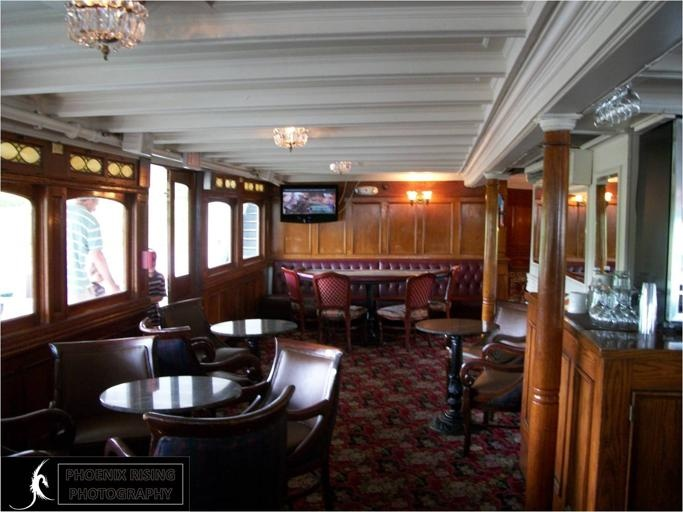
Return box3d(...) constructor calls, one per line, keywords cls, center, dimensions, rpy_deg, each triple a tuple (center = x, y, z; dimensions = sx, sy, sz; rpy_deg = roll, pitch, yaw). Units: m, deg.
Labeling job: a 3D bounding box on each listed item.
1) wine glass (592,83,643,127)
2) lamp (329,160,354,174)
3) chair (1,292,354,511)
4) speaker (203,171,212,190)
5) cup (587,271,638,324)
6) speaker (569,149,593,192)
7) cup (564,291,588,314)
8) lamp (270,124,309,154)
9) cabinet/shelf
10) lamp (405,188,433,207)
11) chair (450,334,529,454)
box3d(cls="wine glass", center=(1.715, -0.938, 3.191), dimensions=(0.174, 0.201, 0.340), rpy_deg=(1, 7, 8))
box3d(cls="lamp", center=(0.010, -1.398, 8.127), dimensions=(0.242, 0.149, 0.241), rpy_deg=(-1, -3, -4))
box3d(cls="chair", center=(-1.107, 1.256, 3.800), dimensions=(2.197, 1.101, 0.909), rpy_deg=(0, 6, 4))
box3d(cls="speaker", center=(-1.871, -1.059, 7.224), dimensions=(0.114, 0.254, 0.074), rpy_deg=(-4, 7, -30))
box3d(cls="cup", center=(1.691, 0.288, 3.358), dimensions=(0.341, 0.337, 0.282), rpy_deg=(3, -7, 0))
box3d(cls="speaker", center=(2.252, -0.830, 4.831), dimensions=(0.202, 0.339, 0.183), rpy_deg=(2, 7, 21))
box3d(cls="cup", center=(1.744, 0.347, 3.762), dimensions=(0.152, 0.181, 0.239), rpy_deg=(1, -3, 7))
box3d(cls="lamp", center=(-0.511, -1.233, 5.301), dimensions=(0.321, 0.204, 0.385), rpy_deg=(-1, 7, -9))
box3d(cls="cabinet/shelf", center=(1.659, 1.104, 3.118), dimensions=(0.556, 1.268, 0.636), rpy_deg=(1, 6, 8))
box3d(cls="lamp", center=(1.479, -1.085, 9.655), dimensions=(0.502, 0.292, 0.305), rpy_deg=(1, 7, 6))
box3d(cls="chair", center=(1.303, 1.305, 4.901), dimensions=(0.862, 1.193, 0.843), rpy_deg=(1, -8, 2))
